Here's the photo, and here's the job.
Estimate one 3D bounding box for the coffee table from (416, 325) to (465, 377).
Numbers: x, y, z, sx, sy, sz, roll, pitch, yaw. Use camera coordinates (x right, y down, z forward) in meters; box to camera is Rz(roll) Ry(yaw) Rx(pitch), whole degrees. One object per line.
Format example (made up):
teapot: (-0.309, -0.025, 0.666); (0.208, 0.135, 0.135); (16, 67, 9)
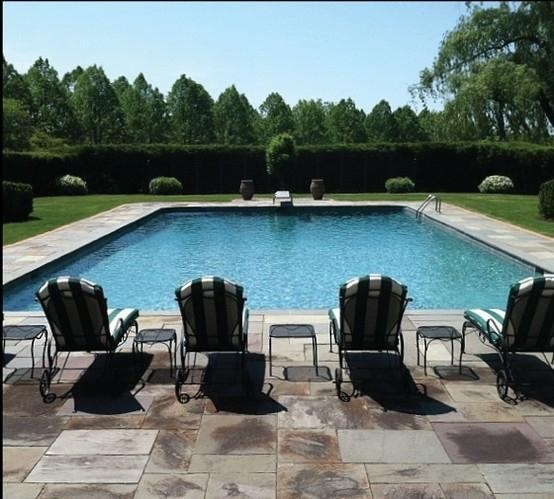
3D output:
coffee table: (1.704, 1.078, 4.452); (0.394, 0.367, 0.405); (-1, -5, 18)

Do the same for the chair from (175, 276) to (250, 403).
chair: (-0.618, 0.676, 4.157); (0.646, 1.146, 1.175); (0, 12, -2)

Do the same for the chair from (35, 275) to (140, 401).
chair: (-1.977, 0.683, 4.161); (0.584, 0.970, 1.537); (0, 9, 1)

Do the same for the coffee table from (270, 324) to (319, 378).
coffee table: (0.199, 1.023, 4.798); (0.522, 0.402, 0.981); (0, 9, 4)

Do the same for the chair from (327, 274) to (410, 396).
chair: (0.950, 0.755, 4.335); (0.836, 1.115, 1.213); (0, 9, 7)
